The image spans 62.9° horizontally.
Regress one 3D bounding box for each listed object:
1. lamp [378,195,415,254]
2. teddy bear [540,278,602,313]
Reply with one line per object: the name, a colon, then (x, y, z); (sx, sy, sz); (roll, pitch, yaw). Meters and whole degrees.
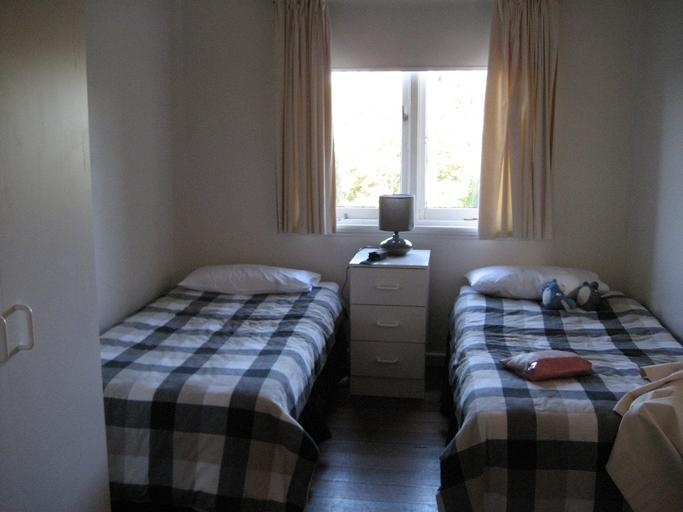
lamp: (0.371, -0.220, 3.715); (0.299, 0.540, 0.312); (1, 11, 8)
teddy bear: (1.329, 0.228, 3.204); (0.264, 0.161, 0.179); (0, -1, 6)
